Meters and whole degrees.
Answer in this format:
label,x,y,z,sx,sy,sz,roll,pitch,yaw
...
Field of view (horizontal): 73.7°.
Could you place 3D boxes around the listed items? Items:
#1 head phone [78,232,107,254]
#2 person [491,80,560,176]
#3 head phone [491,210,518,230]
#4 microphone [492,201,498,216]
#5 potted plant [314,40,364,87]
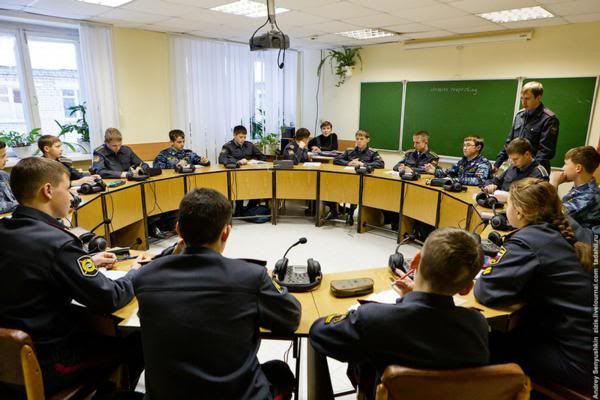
label,x,y,z,sx,sy,sz,roll,pitch,yaw
head phone,-1.530,0.311,2.915,0.269,0.114,0.152,12,18,43
person,2.776,-0.847,4.735,0.509,1.044,0.542,-7,15,-28
head phone,1.767,0.183,3.500,0.157,0.137,0.200,3,13,12
microphone,1.887,0.075,3.834,0.052,0.143,0.114,2,5,31
potted plant,0.767,-2.618,7.734,0.805,0.577,0.616,-20,30,-39
